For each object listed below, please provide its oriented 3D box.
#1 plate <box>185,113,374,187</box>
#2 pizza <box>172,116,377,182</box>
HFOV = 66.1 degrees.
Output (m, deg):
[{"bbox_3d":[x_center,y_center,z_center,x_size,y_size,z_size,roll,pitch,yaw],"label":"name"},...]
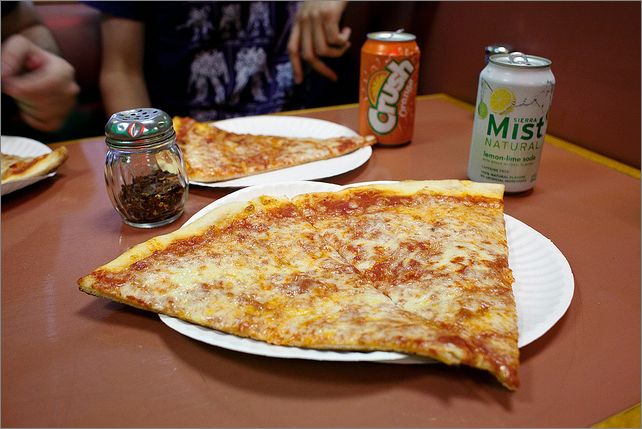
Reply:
[{"bbox_3d":[-0.160,-0.217,1.659,0.423,0.046,0.372,3,25,8],"label":"plate"},{"bbox_3d":[-0.207,-0.212,1.652,0.515,0.075,0.308,-1,33,-6],"label":"pizza"}]
